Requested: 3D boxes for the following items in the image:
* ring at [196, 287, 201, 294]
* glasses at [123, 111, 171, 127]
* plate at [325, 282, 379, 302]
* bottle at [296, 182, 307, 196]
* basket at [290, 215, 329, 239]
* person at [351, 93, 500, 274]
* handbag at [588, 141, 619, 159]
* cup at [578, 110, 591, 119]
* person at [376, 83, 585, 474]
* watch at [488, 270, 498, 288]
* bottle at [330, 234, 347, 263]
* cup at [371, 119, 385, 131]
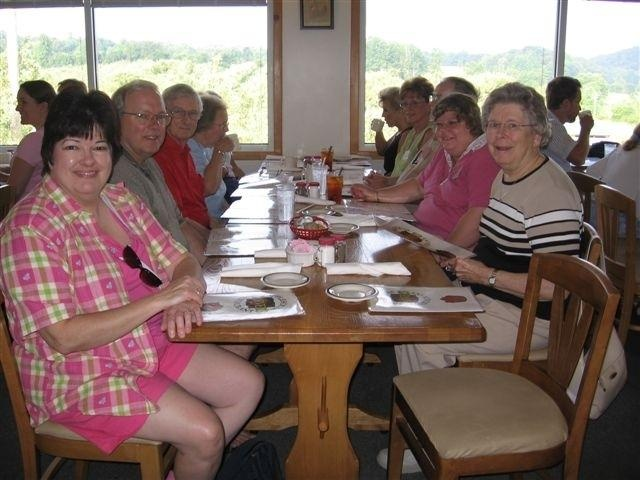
[{"bbox_3d":[-0.377,0.159,1.508,0.016,0.008,0.022,1,10,-7],"label":"ring"},{"bbox_3d":[-0.792,-0.551,2.231,0.103,0.030,0.101,2,2,27],"label":"glasses"},{"bbox_3d":[0.100,0.172,1.558,0.143,0.035,0.137,-11,16,-42],"label":"plate"},{"bbox_3d":[-0.115,-0.328,3.144,0.081,0.084,0.079,1,2,-1],"label":"bottle"},{"bbox_3d":[-0.043,-0.050,2.167,0.126,0.054,0.122,2,10,0],"label":"basket"},{"bbox_3d":[0.576,-0.428,2.994,0.827,1.423,0.820,0,13,-3],"label":"person"},{"bbox_3d":[3.146,-1.008,5.447,0.315,0.150,0.420,1,7,37],"label":"handbag"},{"bbox_3d":[2.467,-1.165,4.546,0.094,0.082,0.073,12,13,34],"label":"cup"},{"bbox_3d":[0.824,-0.049,3.021,1.458,2.504,1.176,0,5,4],"label":"person"},{"bbox_3d":[0.652,0.150,1.839,0.033,0.053,0.055,14,14,24],"label":"watch"},{"bbox_3d":[0.083,0.045,2.020,0.102,0.104,0.094,0,5,-1],"label":"bottle"},{"bbox_3d":[0.642,-1.240,5.335,0.116,0.130,0.150,3,2,33],"label":"cup"}]
